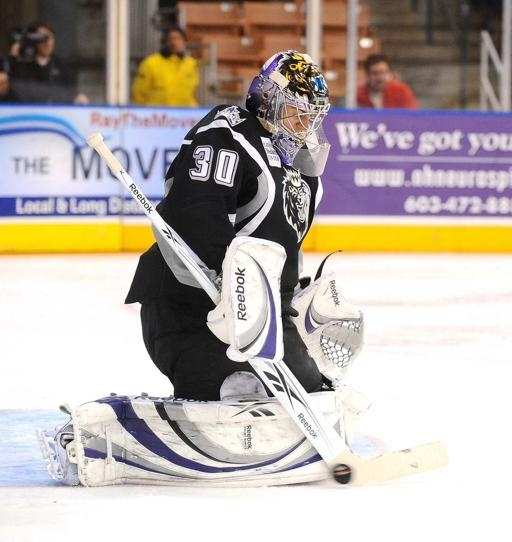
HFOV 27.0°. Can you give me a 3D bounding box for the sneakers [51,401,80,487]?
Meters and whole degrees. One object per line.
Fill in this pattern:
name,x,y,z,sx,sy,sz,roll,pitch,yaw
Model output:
sneakers,-0.494,0.425,2.762,0.053,0.146,0.115,-3,0,-7
